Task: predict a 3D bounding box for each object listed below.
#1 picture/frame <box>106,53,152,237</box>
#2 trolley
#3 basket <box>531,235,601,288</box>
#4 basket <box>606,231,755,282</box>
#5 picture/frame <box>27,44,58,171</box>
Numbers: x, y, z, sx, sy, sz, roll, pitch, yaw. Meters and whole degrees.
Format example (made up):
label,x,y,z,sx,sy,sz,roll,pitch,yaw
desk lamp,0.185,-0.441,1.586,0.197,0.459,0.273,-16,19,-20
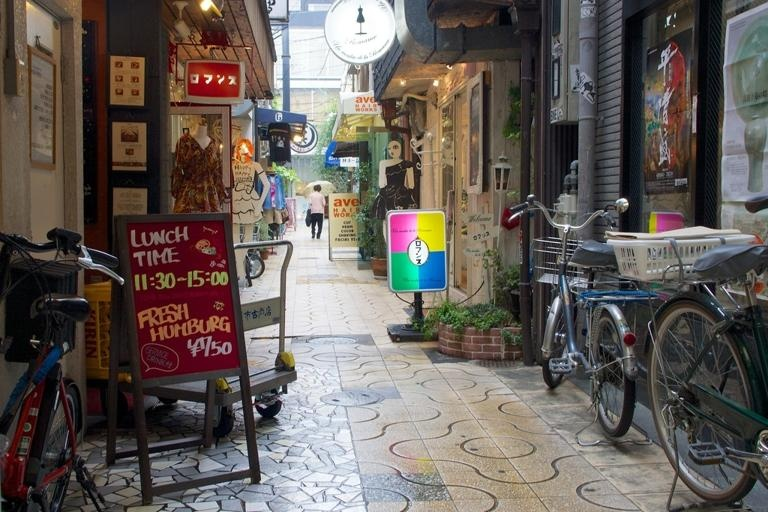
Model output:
label,x,y,z,sx,sy,sz,roll,pitch,yaw
picture/frame,-2.832,-1.564,6.584,0.398,1.090,0.229,-3,2,-23
trolley,-1.609,0.665,5.497,1.335,1.587,1.019,1,3,35
basket,1.853,0.058,5.996,0.525,0.391,0.283,-3,7,-38
basket,1.995,-0.009,4.062,0.822,0.354,0.424,-2,2,3
picture/frame,-2.599,-1.104,4.539,0.097,0.773,0.417,-2,2,-11
